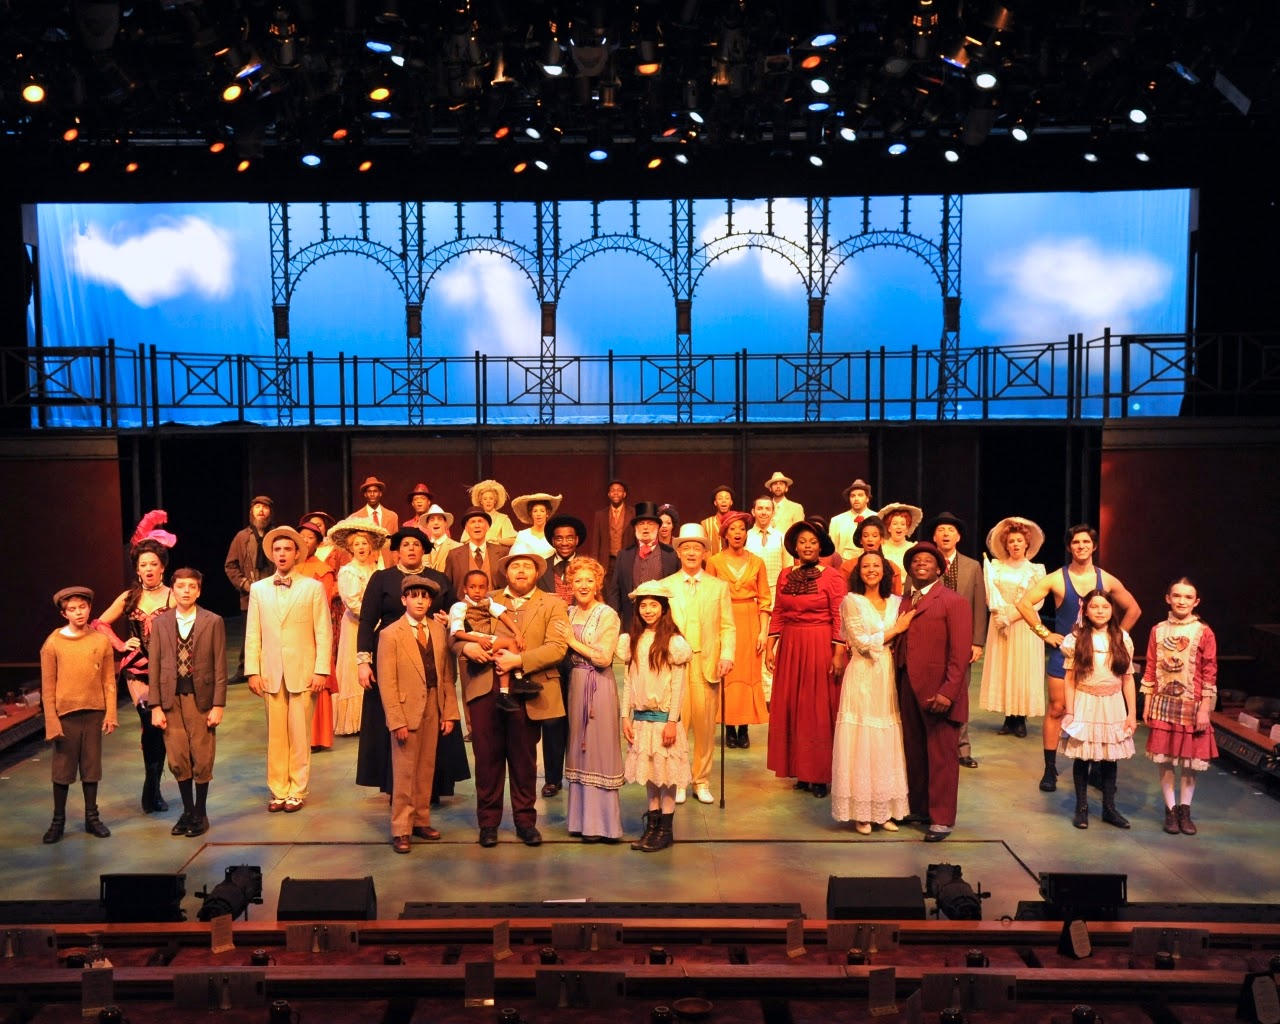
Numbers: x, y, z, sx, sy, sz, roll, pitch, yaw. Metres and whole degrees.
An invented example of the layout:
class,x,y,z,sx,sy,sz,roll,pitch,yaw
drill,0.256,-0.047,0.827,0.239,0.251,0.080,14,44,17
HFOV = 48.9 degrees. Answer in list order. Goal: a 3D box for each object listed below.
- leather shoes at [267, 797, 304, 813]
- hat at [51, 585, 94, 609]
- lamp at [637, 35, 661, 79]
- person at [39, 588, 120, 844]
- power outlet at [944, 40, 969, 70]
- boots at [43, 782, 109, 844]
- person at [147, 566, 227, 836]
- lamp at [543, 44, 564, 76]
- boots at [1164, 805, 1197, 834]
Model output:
class,x,y,z,sx,sy,sz,roll,pitch,yaw
leather shoes,-2.708,2.219,10.719,0.182,0.072,0.106,-2,-5,28
hat,-4.514,0.672,11.220,0.348,0.132,0.377,-5,-5,-13
lamp,0.067,-4.377,13.487,0.198,0.198,0.452,0,-33,5
person,-4.089,1.468,10.288,0.540,1.817,0.529,-1,3,-13
power outlet,2.933,-4.222,13.081,0.192,0.191,0.208,1,-27,-14
boots,-4.134,2.191,10.437,0.493,0.482,0.409,6,-18,-33
person,-3.305,1.382,10.271,0.527,1.937,0.268,-1,3,-14
lamp,-0.834,-4.283,13.388,0.201,0.230,0.463,0,3,-1
boots,3.913,2.250,10.300,0.154,0.100,0.244,-1,-4,14
